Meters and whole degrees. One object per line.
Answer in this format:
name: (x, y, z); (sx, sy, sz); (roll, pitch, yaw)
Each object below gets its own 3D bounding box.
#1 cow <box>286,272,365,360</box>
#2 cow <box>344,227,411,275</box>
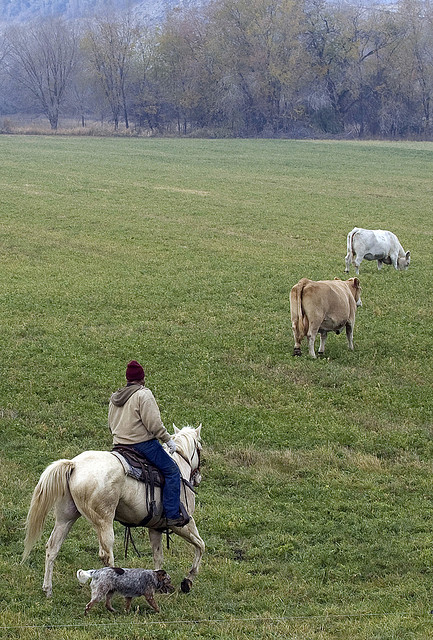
cow: (5.598, -0.275, 68.974); (1.780, 4.004, 5.039); (0, 1, 42)
cow: (8.796, -3.679, 77.742); (3.678, 2.715, 1.351); (0, 12, -24)
